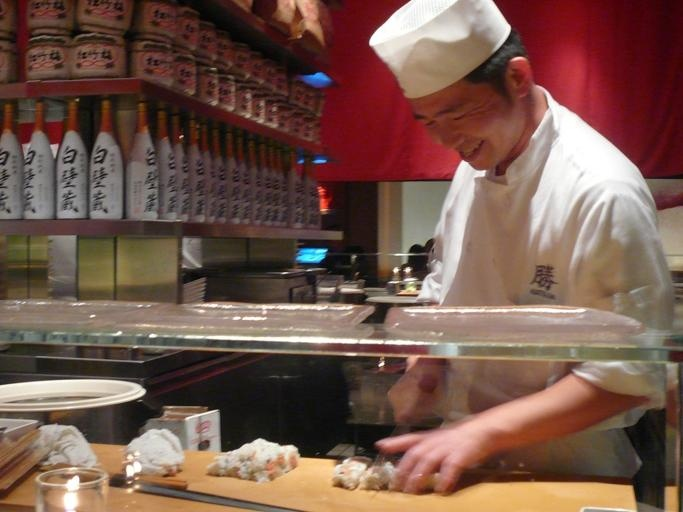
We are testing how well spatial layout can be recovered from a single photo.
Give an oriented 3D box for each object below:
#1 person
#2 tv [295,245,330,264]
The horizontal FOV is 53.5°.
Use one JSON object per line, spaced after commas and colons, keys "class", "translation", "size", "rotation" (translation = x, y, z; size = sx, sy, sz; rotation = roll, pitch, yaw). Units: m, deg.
{"class": "person", "translation": [0.370, -0.086, 1.527], "size": [0.645, 1.041, 0.772], "rotation": [-1, -5, 10]}
{"class": "tv", "translation": [-0.209, -0.002, 4.829], "size": [0.182, 0.036, 0.174], "rotation": [3, 15, 3]}
